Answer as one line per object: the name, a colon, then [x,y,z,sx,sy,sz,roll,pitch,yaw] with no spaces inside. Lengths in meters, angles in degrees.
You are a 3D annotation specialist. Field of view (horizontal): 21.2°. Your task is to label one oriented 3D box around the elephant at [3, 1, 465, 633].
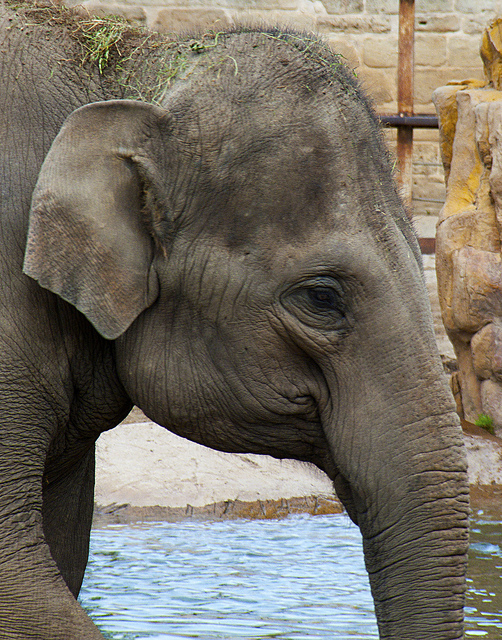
elephant: [-0.043,0.101,3.368,1.119,1.571,1.161,0,33,4]
